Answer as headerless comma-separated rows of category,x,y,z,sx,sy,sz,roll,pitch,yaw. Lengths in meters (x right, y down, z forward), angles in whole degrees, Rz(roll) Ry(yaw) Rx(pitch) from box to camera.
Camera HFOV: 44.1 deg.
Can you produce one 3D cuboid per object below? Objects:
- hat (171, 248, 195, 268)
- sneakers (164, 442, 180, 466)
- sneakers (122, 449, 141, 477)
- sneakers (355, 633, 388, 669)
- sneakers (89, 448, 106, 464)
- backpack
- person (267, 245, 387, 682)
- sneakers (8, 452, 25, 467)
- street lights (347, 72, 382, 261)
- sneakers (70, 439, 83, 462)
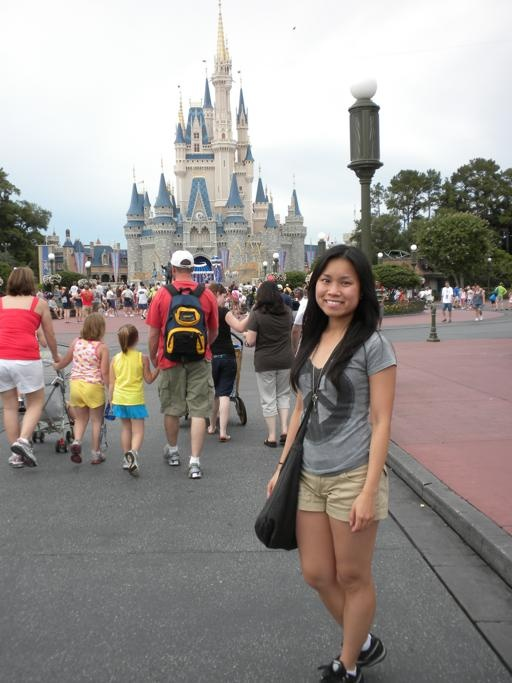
hat,-0.650,-0.740,5.605,0.139,0.112,0.209,0,23,-11
sneakers,-0.795,1.055,5.968,0.077,0.132,0.265,0,12,-7
sneakers,-1.068,1.099,5.422,0.102,0.302,0.127,-4,6,12
sneakers,0.434,1.181,2.436,0.061,0.090,0.184,-23,-8,-7
sneakers,-1.499,1.096,6.027,0.127,0.122,0.250,-2,3,-16
backpack,-0.619,-0.153,5.504,0.381,0.698,0.310,-2,3,-8
person,0.279,0.445,2.317,0.462,1.596,0.353,0,3,25
sneakers,-2.165,1.076,5.753,0.101,0.140,0.260,3,-10,-14
street lights,1.229,-1.948,7.210,0.353,1.910,0.979,-1,3,11
sneakers,-1.622,1.010,5.727,0.084,0.200,0.153,-2,3,-20
